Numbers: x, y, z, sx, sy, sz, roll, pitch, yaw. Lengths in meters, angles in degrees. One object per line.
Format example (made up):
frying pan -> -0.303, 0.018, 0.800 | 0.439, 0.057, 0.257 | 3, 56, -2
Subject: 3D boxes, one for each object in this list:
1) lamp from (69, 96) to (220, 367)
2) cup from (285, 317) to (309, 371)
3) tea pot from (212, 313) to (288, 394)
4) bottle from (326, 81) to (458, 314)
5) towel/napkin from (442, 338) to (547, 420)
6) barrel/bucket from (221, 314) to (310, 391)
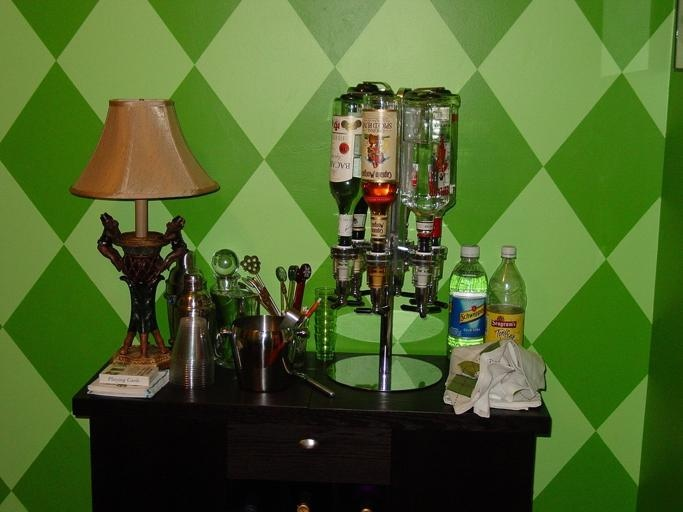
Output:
lamp -> -0.569, -0.084, 1.908 | 0.356, 0.765, 0.240 | 4, 3, 18
cup -> -0.118, 0.255, 1.898 | 0.077, 0.135, 0.132 | 0, 11, -2
tea pot -> -0.230, 0.257, 1.796 | 0.208, 0.187, 0.171 | -1, 5, -3
bottle -> 0.157, -0.159, 1.873 | 0.387, 0.649, 0.267 | 3, 3, -6
towel/napkin -> 0.406, 0.321, 1.740 | 0.206, 0.086, 0.213 | -3, 21, 4
barrel/bucket -> -0.217, 0.267, 1.877 | 0.235, 0.166, 0.166 | -2, 7, -12
